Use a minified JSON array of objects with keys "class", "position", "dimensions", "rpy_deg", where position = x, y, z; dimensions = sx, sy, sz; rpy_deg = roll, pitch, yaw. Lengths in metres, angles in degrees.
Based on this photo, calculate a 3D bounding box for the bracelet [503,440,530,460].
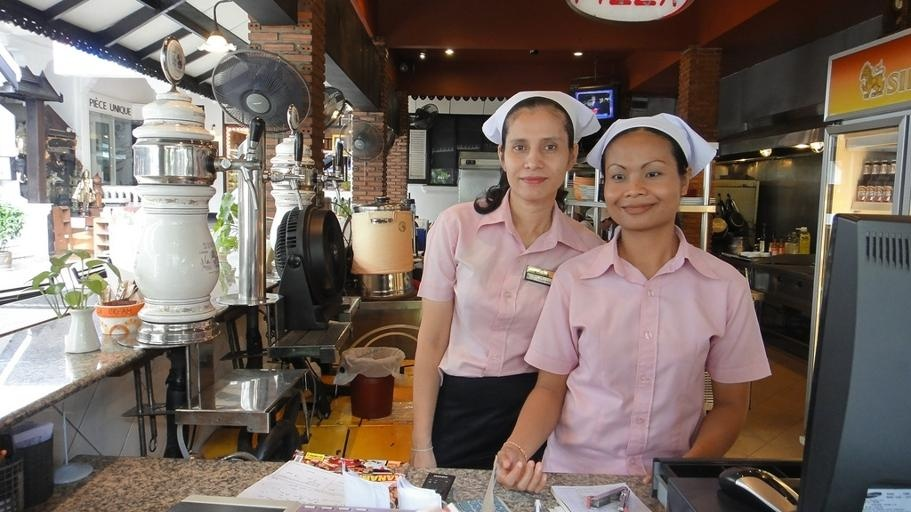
[{"class":"bracelet","position":[0.271,0.870,2.823],"dimensions":[0.086,0.033,0.068],"rpy_deg":[36,-9,25]}]

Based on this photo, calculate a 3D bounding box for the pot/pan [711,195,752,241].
[{"class":"pot/pan","position":[4.254,-0.617,9.587],"dimensions":[0.696,0.757,0.318],"rpy_deg":[-6,-7,-9]}]

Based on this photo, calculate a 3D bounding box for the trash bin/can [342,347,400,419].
[{"class":"trash bin/can","position":[-0.605,0.913,4.499],"dimensions":[0.426,0.452,0.282],"rpy_deg":[0,7,-10]}]

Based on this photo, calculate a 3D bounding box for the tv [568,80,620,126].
[{"class":"tv","position":[1.791,-2.019,8.297],"dimensions":[0.600,0.473,0.304],"rpy_deg":[-5,7,-7]}]

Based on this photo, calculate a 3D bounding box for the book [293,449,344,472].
[{"class":"book","position":[-0.623,0.916,2.811],"dimensions":[0.238,0.060,0.143],"rpy_deg":[1,6,-1]}]

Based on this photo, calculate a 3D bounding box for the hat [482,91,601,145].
[{"class":"hat","position":[0.440,-0.721,3.279],"dimensions":[0.744,0.218,0.570],"rpy_deg":[1,10,-10]}]

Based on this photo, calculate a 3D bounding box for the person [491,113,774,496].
[{"class":"person","position":[0.803,0.203,2.913],"dimensions":[1.232,1.744,0.533],"rpy_deg":[-1,7,-19]}]

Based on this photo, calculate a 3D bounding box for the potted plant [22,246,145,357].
[{"class":"potted plant","position":[-1.858,0.217,3.335],"dimensions":[0.620,0.518,0.548],"rpy_deg":[-2,2,-15]}]

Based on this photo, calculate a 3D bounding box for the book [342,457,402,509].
[{"class":"book","position":[-0.343,0.930,2.589],"dimensions":[0.182,0.071,0.221],"rpy_deg":[4,-1,-2]}]
